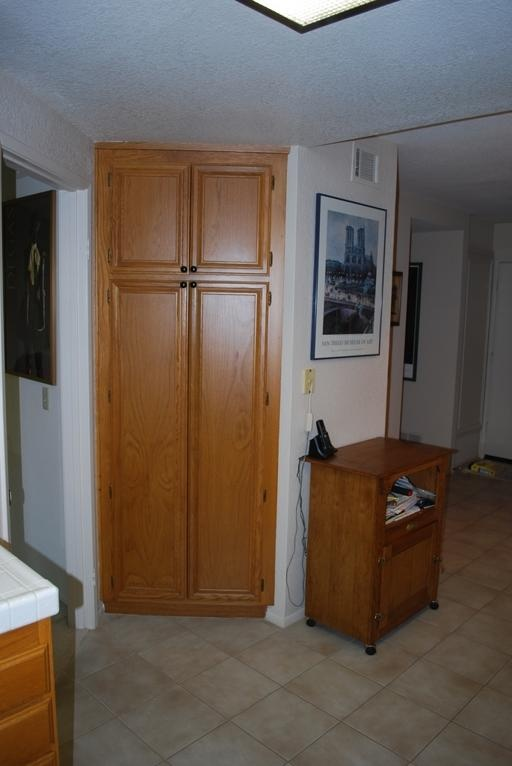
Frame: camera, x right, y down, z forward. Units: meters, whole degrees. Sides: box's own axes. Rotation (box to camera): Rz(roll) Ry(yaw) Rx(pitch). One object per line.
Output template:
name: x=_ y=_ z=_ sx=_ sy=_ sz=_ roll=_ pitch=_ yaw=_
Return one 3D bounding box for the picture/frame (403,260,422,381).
picture/frame: x=1.623 y=-0.626 z=5.810 sx=0.152 sy=1.221 sz=0.105 roll=2 pitch=3 yaw=21

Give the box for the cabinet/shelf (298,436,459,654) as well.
cabinet/shelf: x=0.579 y=0.764 z=2.784 sx=0.434 sy=0.830 sz=0.695 roll=4 pitch=4 yaw=43

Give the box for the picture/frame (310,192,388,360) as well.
picture/frame: x=0.451 y=-0.550 z=2.823 sx=0.032 sy=1.051 sz=0.747 roll=4 pitch=5 yaw=34

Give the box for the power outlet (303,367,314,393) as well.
power outlet: x=0.248 y=-0.018 z=2.666 sx=0.015 sy=0.157 sz=0.099 roll=5 pitch=7 yaw=37

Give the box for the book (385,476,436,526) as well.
book: x=0.759 y=0.578 z=2.774 sx=0.190 sy=0.093 sz=0.239 roll=-15 pitch=15 yaw=-40
